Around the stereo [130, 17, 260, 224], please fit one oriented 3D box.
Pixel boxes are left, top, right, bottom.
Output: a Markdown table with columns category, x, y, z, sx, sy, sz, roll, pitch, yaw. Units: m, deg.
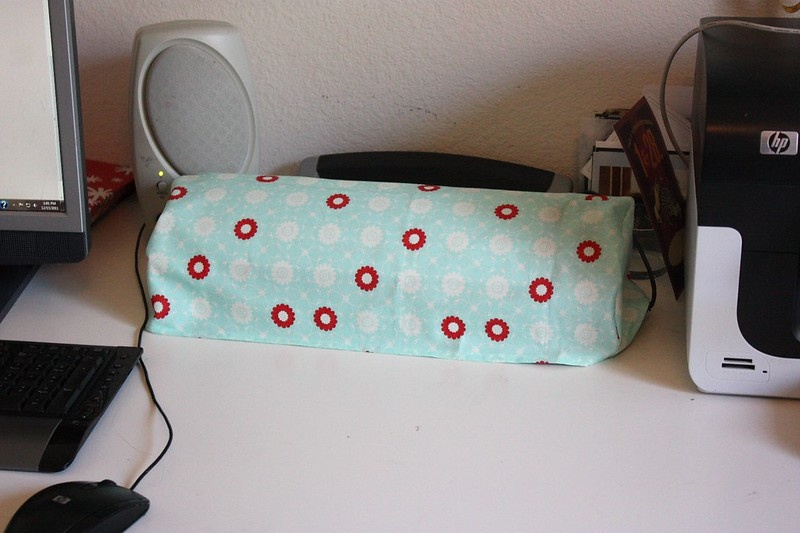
| category | x | y | z | sx | sy | sz | roll | pitch | yaw |
| --- | --- | --- | --- | --- | --- | --- | --- | --- | --- |
| stereo | -0.305 | -0.215 | 0.988 | 0.205 | 0.319 | 0.115 | 6 | 35 | -1 |
